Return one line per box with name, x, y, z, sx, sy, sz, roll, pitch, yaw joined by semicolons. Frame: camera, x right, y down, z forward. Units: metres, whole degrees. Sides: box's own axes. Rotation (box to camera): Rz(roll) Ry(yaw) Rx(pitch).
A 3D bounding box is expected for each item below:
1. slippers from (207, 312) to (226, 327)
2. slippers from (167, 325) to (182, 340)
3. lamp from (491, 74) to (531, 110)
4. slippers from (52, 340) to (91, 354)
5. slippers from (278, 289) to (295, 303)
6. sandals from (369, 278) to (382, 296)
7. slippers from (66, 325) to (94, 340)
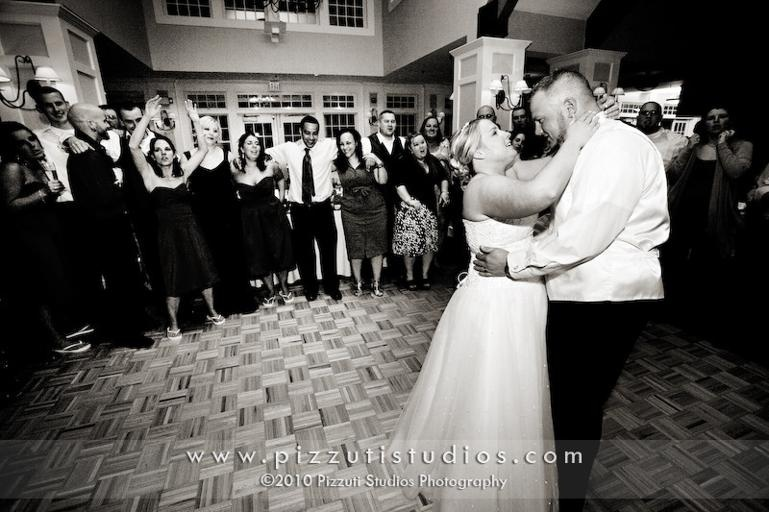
slippers;-1.736;0.660;4.915;0.201;0.096;0.089;-1;30;17
slippers;-2.096;0.777;4.732;0.093;0.097;0.153;1;-4;-9
lamp;1.642;-2.041;5.985;0.335;0.475;0.577;10;14;13
slippers;-2.996;0.874;4.542;0.193;0.078;0.145;-1;11;-17
slippers;-1.101;0.443;5.328;0.086;0.097;0.235;-4;17;-12
sandals;-0.103;0.359;5.435;0.170;0.213;0.471;-2;0;-4
slippers;-3.013;0.747;4.713;0.219;0.094;0.099;-19;62;-26
